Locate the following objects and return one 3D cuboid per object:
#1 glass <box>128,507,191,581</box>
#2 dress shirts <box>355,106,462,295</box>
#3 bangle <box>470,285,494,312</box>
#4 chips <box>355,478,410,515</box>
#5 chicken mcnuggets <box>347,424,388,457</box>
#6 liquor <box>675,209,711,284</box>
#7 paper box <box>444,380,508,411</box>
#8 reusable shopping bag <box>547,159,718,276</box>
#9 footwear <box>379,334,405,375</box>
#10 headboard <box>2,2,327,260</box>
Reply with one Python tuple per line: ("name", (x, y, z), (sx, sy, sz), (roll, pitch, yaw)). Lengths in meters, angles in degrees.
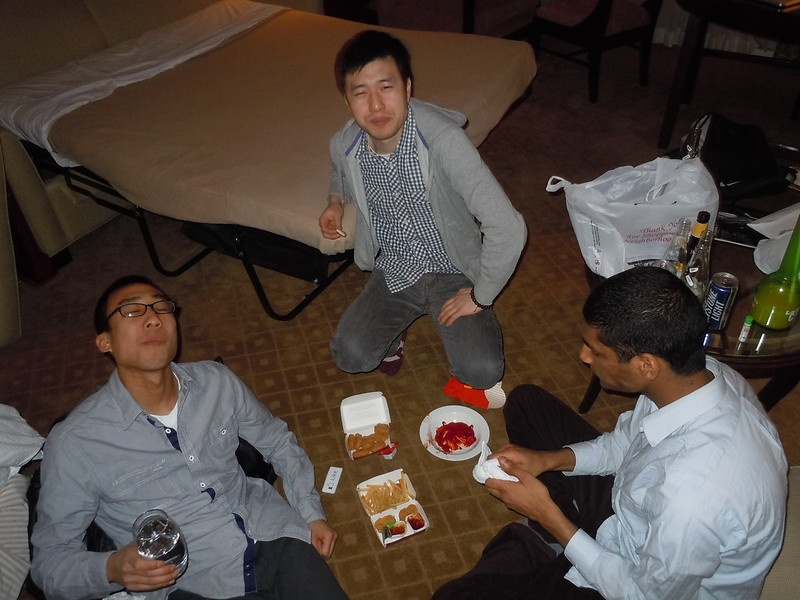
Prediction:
("glass", (-0.773, 0.816, 1.867), (0.144, 0.136, 0.216), (-11, 91, -4))
("dress shirts", (-0.102, -0.501, 2.765), (0.439, 0.342, 0.842), (-8, 85, 2))
("bangle", (0.386, 0.004, 2.729), (0.099, 0.035, 0.110), (17, 48, -2))
("chips", (-0.078, 0.879, 2.495), (0.198, 0.068, 0.131), (-18, 63, -10))
("chicken mcnuggets", (-0.146, 0.689, 2.716), (0.181, 0.055, 0.138), (-9, 61, 1))
("liquor", (1.216, -0.192, 2.332), (0.083, 0.321, 0.085), (15, 21, 21))
("paper box", (0.400, 0.500, 2.966), (0.238, 0.123, 0.155), (14, 47, 12))
("reusable shopping bag", (1.013, -0.354, 2.662), (0.759, 0.378, 0.472), (-15, 55, 15))
("footwear", (-0.026, 0.310, 3.121), (0.118, 0.045, 0.216), (7, 92, 15))
("headboard", (-1.513, -1.000, 3.500), (1.776, 0.723, 1.448), (26, 66, 20))
